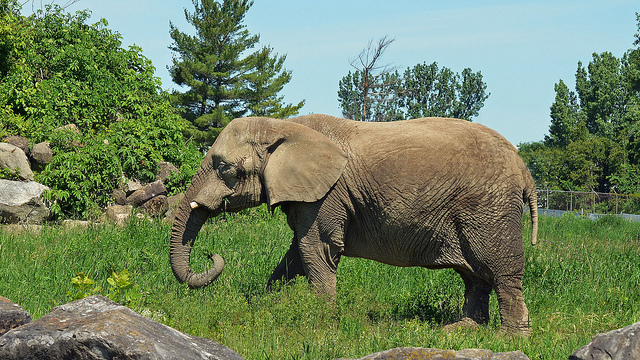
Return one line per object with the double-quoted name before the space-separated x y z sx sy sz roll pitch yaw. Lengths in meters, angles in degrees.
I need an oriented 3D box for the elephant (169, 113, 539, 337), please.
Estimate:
"elephant" 0.957 1.262 21.569 11.031 6.160 3.764 2 -1 9
